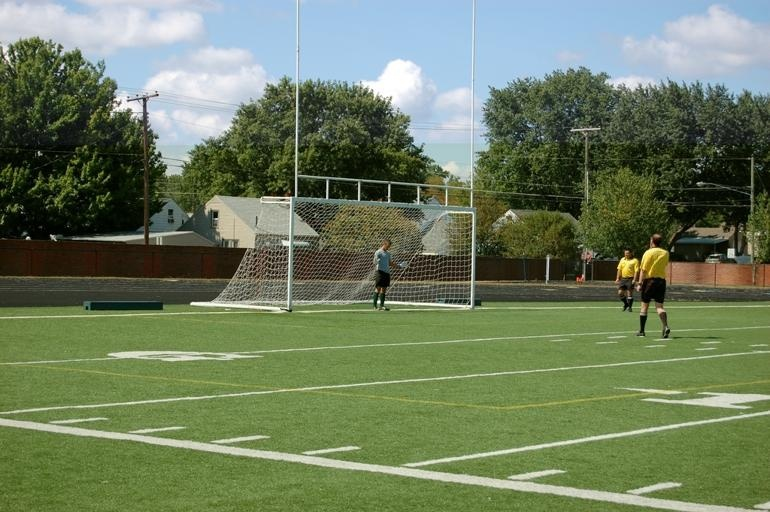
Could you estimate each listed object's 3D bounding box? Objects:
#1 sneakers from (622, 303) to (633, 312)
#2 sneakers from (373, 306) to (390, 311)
[{"bbox_3d":[8.433,1.809,31.090,0.201,0.215,0.579,3,3,25],"label":"sneakers"},{"bbox_3d":[-0.110,1.729,29.367,0.497,0.191,0.163,4,-7,12],"label":"sneakers"}]
